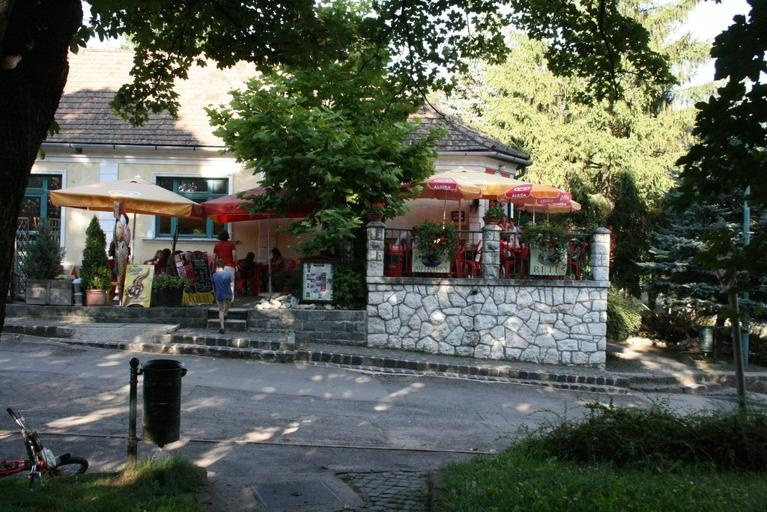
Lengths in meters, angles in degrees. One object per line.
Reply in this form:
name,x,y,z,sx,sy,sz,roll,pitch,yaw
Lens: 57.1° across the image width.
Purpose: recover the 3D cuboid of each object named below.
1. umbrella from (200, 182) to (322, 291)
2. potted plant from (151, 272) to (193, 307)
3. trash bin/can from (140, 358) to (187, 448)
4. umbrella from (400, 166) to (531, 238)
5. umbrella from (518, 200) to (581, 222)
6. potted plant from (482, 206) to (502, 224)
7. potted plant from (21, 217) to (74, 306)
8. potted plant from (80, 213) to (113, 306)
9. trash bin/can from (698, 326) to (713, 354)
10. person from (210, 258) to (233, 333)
umbrella,-3.463,-0.509,20.076,3.441,2.831,2.959,-2,-1,-42
potted plant,-5.461,0.890,17.963,0.783,0.536,0.766,1,-6,-10
trash bin/can,-2.865,1.924,9.184,0.562,1.142,0.461,-1,8,-17
umbrella,2.251,-1.620,19.816,2.228,1.376,2.281,3,3,9
umbrella,5.770,-1.557,24.735,1.239,0.414,1.288,-3,3,30
potted plant,3.068,-1.169,20.473,0.627,0.535,0.616,4,-5,-39
potted plant,-8.742,0.291,18.389,1.105,1.781,1.804,-2,9,-27
potted plant,-7.355,0.079,18.041,0.716,2.081,0.459,-2,9,-22
trash bin/can,9.322,2.429,20.303,0.403,0.848,0.316,2,8,1
person,-3.907,0.976,17.160,0.420,1.816,1.011,0,8,-13
